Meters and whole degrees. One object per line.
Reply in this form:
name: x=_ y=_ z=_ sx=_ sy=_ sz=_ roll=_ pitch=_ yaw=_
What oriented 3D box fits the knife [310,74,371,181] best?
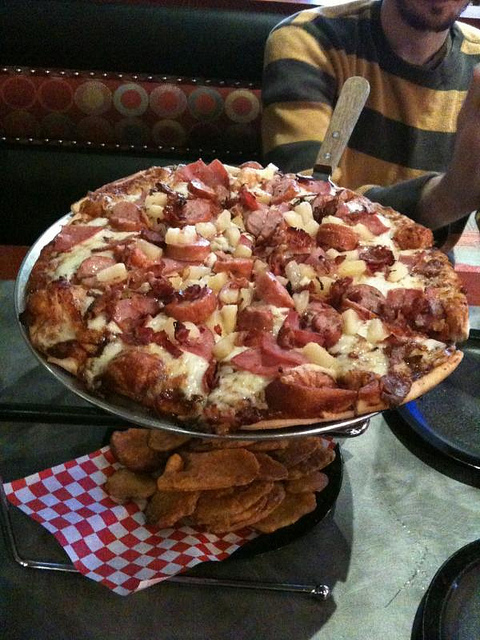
knife: x=0.247 y=-0.447 z=1.395 sx=0.084 sy=0.029 sz=0.330 roll=23 pitch=82 yaw=17

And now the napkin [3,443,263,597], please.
napkin: x=-0.174 y=0.306 z=0.892 sx=0.339 sy=0.086 sz=0.181 roll=28 pitch=60 yaw=15
